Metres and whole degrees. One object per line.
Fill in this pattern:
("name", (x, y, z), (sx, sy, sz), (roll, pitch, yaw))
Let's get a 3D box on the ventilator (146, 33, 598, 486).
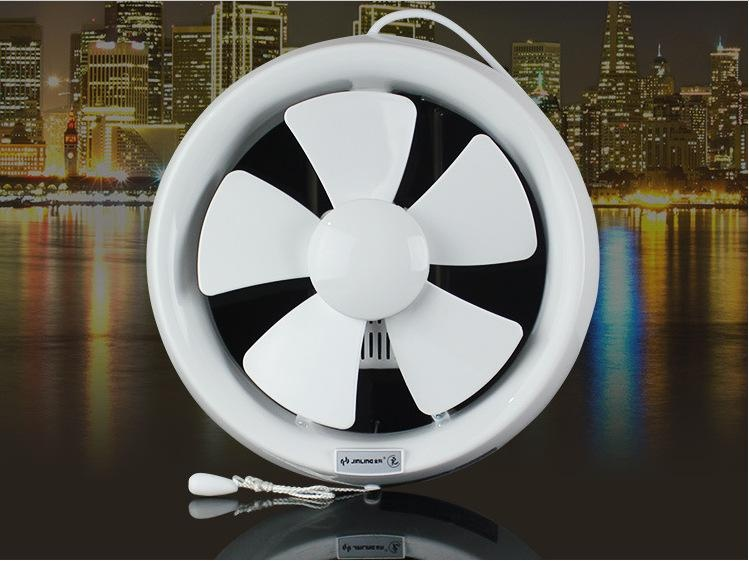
("ventilator", (-0.002, -0.019, 4.276), (2.316, 2.609, 0.638), (0, 1, 0))
